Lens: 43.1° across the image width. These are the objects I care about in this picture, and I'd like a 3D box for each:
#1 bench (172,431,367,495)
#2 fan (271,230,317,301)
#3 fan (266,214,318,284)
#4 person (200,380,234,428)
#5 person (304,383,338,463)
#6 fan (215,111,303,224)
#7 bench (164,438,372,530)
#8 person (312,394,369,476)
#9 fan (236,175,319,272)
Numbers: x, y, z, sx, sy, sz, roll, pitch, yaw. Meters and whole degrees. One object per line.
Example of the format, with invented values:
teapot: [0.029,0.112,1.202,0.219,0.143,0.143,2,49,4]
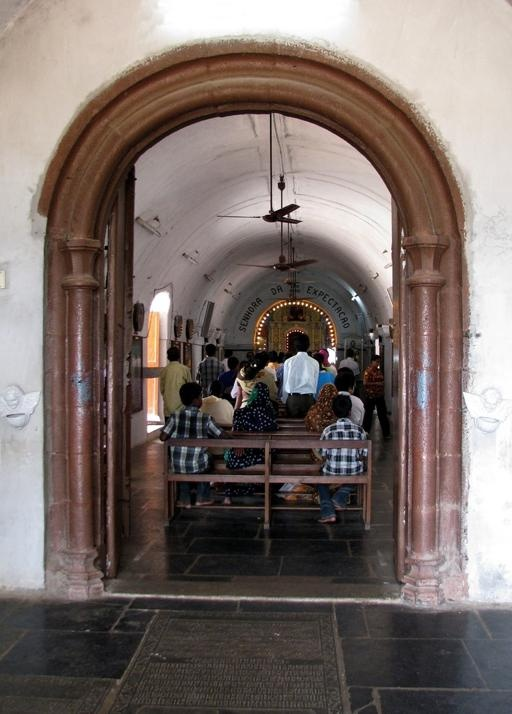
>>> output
bench: [0.123,1.079,6.257,1.911,0.519,0.539,0,-5,2]
fan: [0.561,-2.085,13.809,1.382,1.376,1.467,-3,-2,-3]
fan: [0.589,-2.514,14.005,1.317,1.352,1.394,-10,29,-10]
person: [-0.445,0.550,7.718,0.387,0.708,0.392,2,37,8]
person: [0.674,0.659,6.830,0.277,0.738,0.316,16,-1,12]
fan: [0.312,-2.702,10.127,1.205,1.438,1.428,5,5,37]
bench: [0.153,1.136,6.308,1.908,0.854,0.978,0,0,7]
person: [0.813,0.721,6.092,0.437,0.742,0.468,-1,0,5]
fan: [0.766,-2.598,13.010,1.885,1.921,1.565,-2,11,-10]
